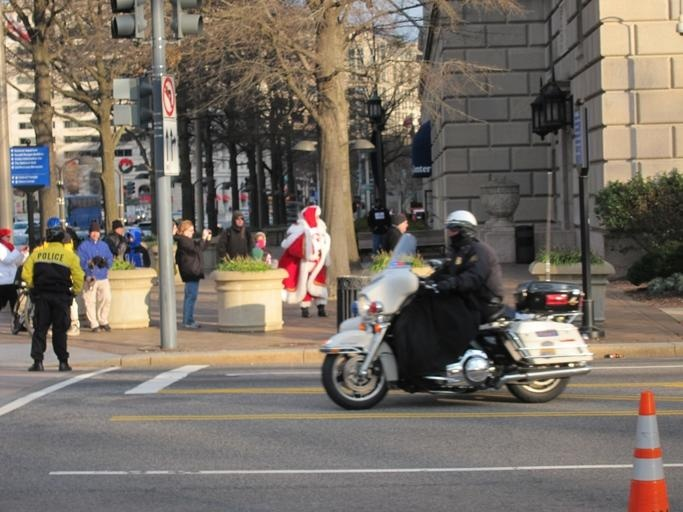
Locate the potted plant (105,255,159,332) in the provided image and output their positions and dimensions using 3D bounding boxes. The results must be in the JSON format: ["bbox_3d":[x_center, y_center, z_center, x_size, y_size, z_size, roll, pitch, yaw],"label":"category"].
[{"bbox_3d":[-4.579,0.844,34.431,0.935,1.408,0.875,-1,7,-44],"label":"potted plant"}]

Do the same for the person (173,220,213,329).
[{"bbox_3d":[-3.201,0.421,34.132,0.895,2.237,0.813,-1,-4,2],"label":"person"}]

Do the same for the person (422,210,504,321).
[{"bbox_3d":[2.126,0.174,27.457,1.351,1.910,1.118,-4,9,-11],"label":"person"}]

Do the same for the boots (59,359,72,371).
[{"bbox_3d":[-5.209,2.061,30.270,0.147,0.243,0.265,3,12,20],"label":"boots"}]

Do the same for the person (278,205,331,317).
[{"bbox_3d":[-0.881,0.085,35.085,1.006,2.358,0.878,-5,5,-19],"label":"person"}]

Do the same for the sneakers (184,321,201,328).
[{"bbox_3d":[-3.191,1.470,34.155,0.304,0.119,0.132,-2,6,11],"label":"sneakers"}]

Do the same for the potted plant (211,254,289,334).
[{"bbox_3d":[-1.964,0.824,33.542,1.424,1.545,0.585,-2,0,-4],"label":"potted plant"}]

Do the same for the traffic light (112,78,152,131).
[{"bbox_3d":[-4.146,-3.006,31.481,0.744,1.018,0.697,-2,0,-27],"label":"traffic light"}]

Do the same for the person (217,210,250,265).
[{"bbox_3d":[-2.370,-0.390,35.494,0.950,1.218,0.470,-12,22,-31],"label":"person"}]

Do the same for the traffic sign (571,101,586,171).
[{"bbox_3d":[4.667,-2.319,31.406,0.223,1.222,1.101,-2,0,8],"label":"traffic sign"}]

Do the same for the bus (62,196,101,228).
[{"bbox_3d":[-16.618,-2.751,102.212,2.177,2.377,3.858,-4,4,-9],"label":"bus"}]

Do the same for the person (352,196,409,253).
[{"bbox_3d":[1.323,-0.893,46.205,1.161,1.553,1.086,0,4,0],"label":"person"}]
